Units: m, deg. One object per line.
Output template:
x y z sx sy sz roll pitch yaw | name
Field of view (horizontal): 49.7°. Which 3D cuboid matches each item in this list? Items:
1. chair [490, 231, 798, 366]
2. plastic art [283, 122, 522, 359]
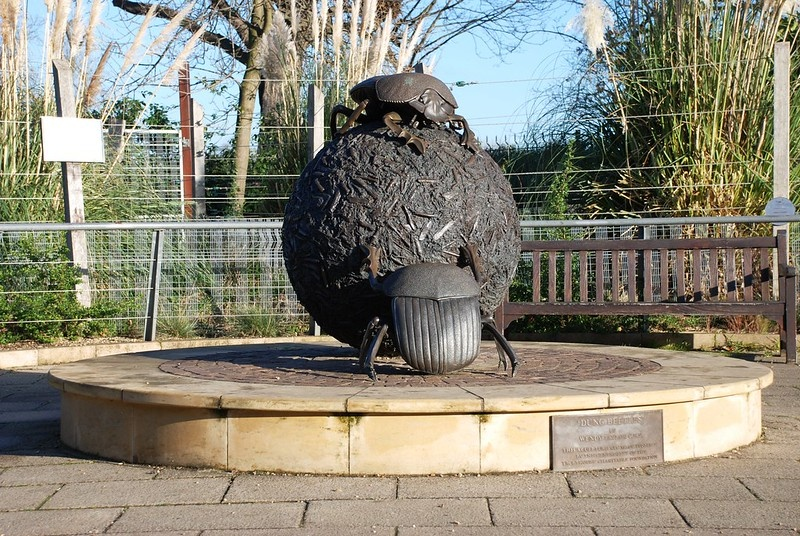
2.877 0.136 9.875 3.389 1.285 2.392 0 12 8 | chair
-0.212 -0.062 7.488 1.602 1.578 1.636 7 -19 16 | plastic art
